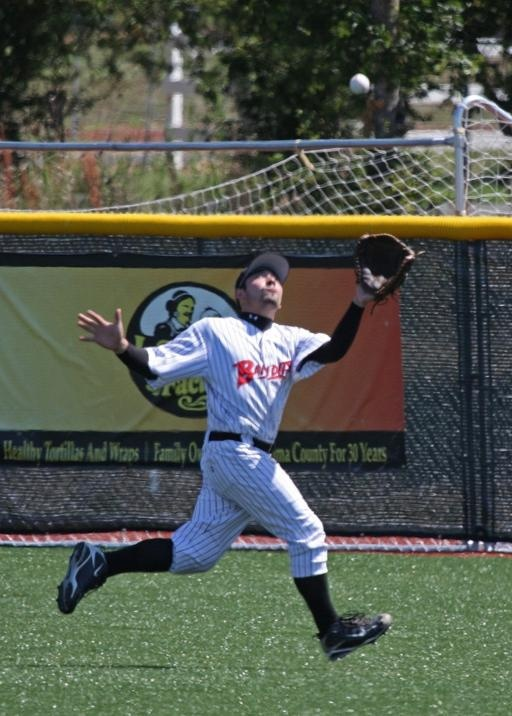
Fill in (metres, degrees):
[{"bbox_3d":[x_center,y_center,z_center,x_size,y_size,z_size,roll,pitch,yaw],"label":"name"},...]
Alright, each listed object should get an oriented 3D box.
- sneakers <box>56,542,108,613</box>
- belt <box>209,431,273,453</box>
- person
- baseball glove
[{"bbox_3d":[-0.796,1.007,7.091,0.207,0.148,0.405,7,49,17],"label":"sneakers"},{"bbox_3d":[-0.081,0.403,7.061,0.294,0.134,0.099,-4,20,-2],"label":"belt"},{"bbox_3d":[-0.107,0.445,7.148,1.458,1.672,1.071,-1,21,5],"label":"person"},{"bbox_3d":[0.605,-0.405,7.174,0.255,0.328,0.177,21,4,11],"label":"baseball glove"}]
